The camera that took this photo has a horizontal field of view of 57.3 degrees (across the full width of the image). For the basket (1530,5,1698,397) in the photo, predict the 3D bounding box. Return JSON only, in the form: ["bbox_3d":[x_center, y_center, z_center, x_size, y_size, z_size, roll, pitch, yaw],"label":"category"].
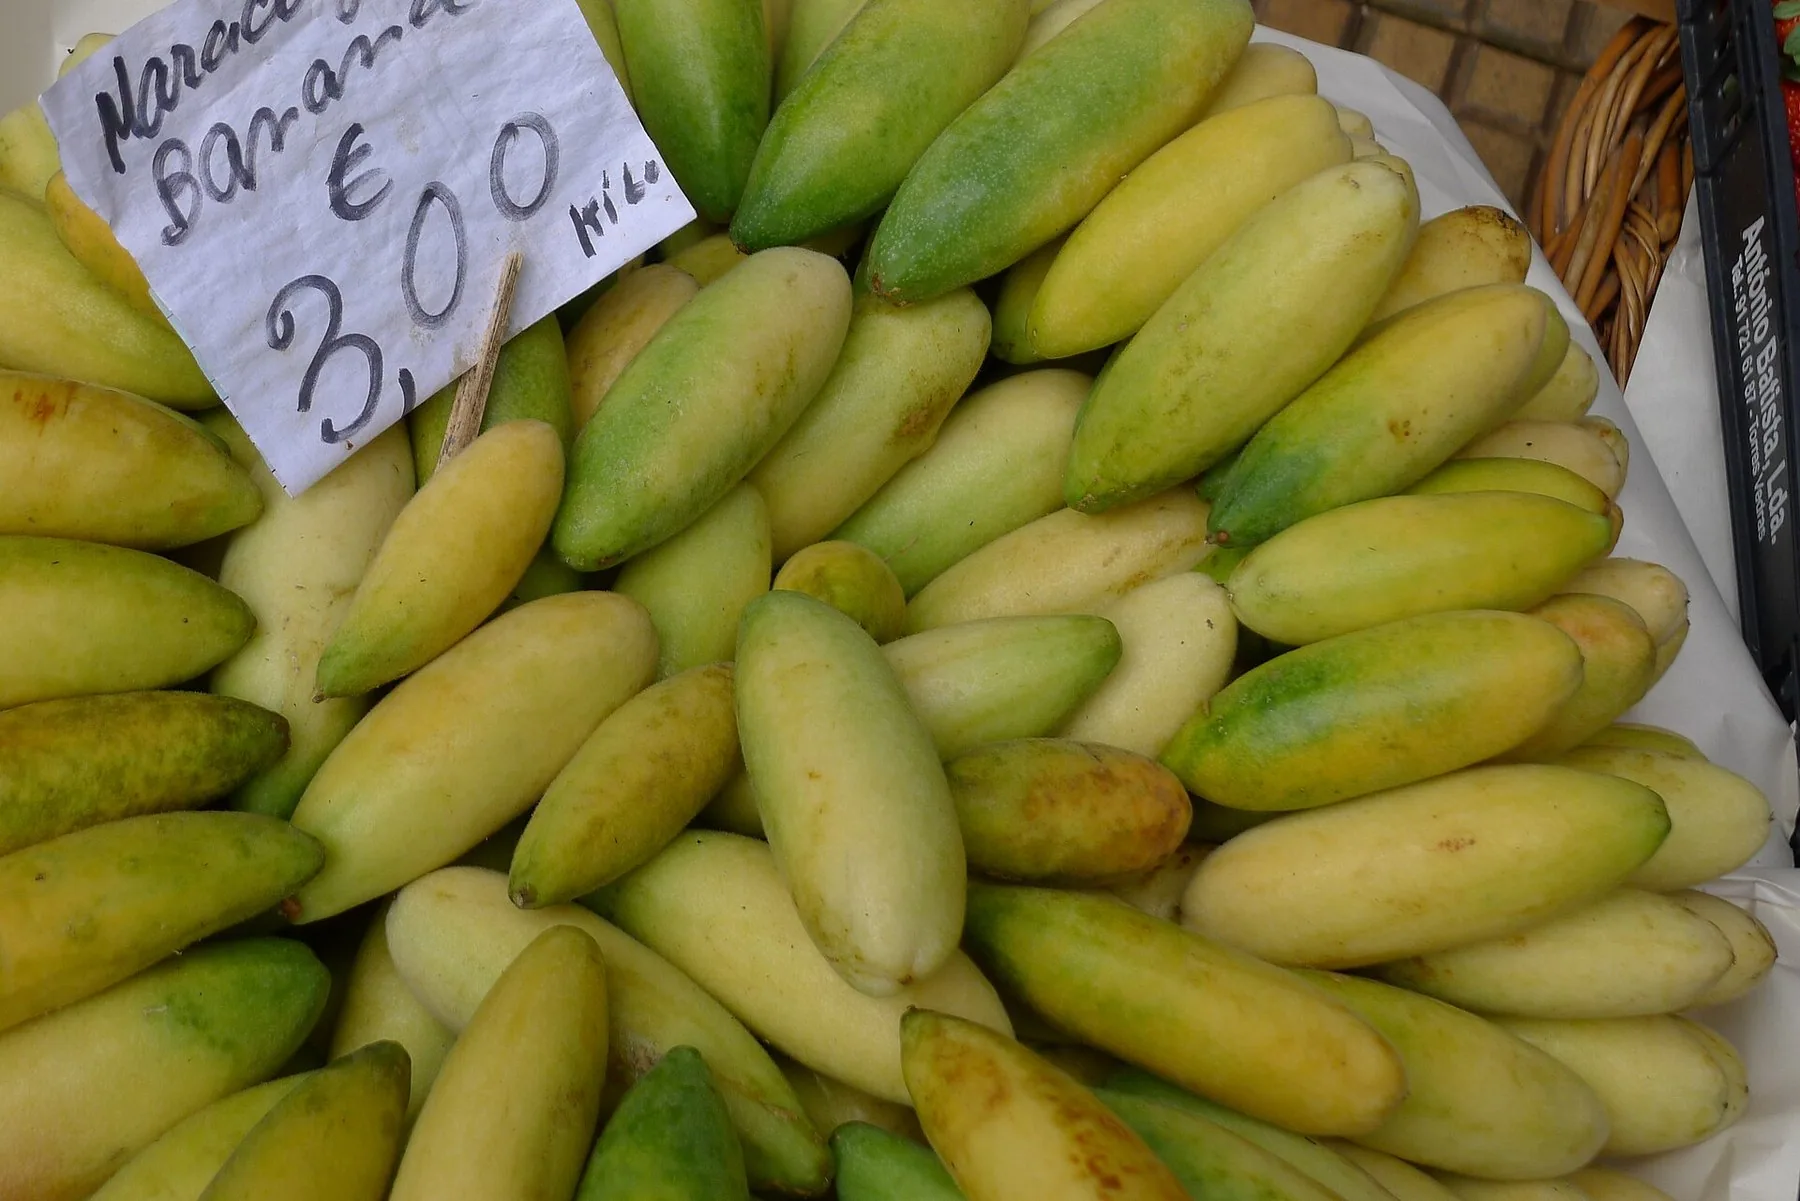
[{"bbox_3d":[0.876,-0.510,2.075,0.132,0.325,0.397,7,55,-4],"label":"basket"}]
